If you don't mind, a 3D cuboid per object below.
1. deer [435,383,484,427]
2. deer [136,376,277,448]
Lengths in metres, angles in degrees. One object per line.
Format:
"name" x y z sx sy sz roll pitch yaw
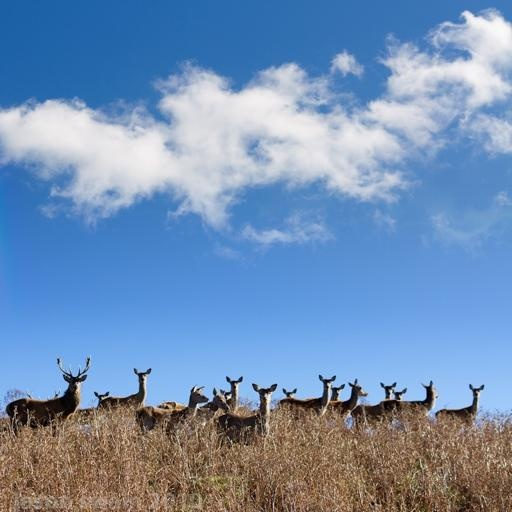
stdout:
"deer" 6.652 4.820 30.906 1.260 1.443 5.668 0 -2 14
"deer" -1.202 4.126 24.396 2.519 1.273 5.113 1 -2 -26
